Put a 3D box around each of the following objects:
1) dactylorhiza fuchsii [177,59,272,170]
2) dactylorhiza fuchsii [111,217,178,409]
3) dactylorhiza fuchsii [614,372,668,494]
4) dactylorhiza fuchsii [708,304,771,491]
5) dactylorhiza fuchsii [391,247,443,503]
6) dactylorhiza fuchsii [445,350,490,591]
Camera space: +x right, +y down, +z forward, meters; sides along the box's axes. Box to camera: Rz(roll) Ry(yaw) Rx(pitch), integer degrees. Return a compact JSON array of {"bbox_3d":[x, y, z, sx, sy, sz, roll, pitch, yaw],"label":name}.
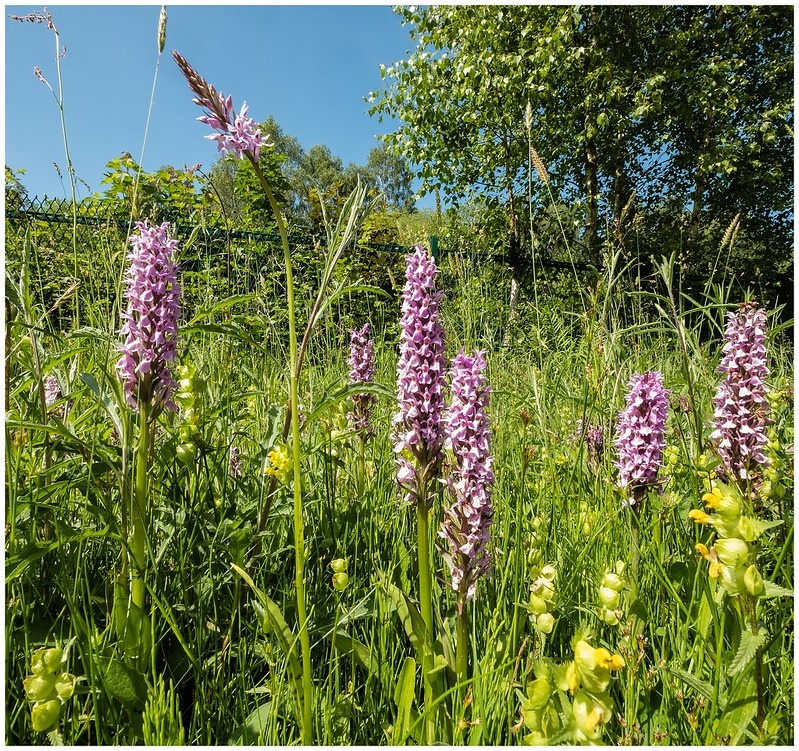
[{"bbox_3d":[-0.453,-0.691,1.835,0.177,0.267,0.250,-1,-3,33],"label":"dactylorhiza fuchsii"},{"bbox_3d":[-0.782,-0.193,2.195,0.181,0.617,0.233,1,-2,-24],"label":"dactylorhiza fuchsii"},{"bbox_3d":[0.904,0.227,2.635,0.189,0.496,0.322,0,-2,19],"label":"dactylorhiza fuchsii"},{"bbox_3d":[1.329,0.084,2.765,0.214,0.716,0.337,0,-2,28],"label":"dactylorhiza fuchsii"},{"bbox_3d":[0.050,-0.008,2.152,0.185,0.778,0.150,0,-2,17],"label":"dactylorhiza fuchsii"},{"bbox_3d":[0.198,0.294,2.083,0.156,0.738,0.115,0,-2,4],"label":"dactylorhiza fuchsii"}]
